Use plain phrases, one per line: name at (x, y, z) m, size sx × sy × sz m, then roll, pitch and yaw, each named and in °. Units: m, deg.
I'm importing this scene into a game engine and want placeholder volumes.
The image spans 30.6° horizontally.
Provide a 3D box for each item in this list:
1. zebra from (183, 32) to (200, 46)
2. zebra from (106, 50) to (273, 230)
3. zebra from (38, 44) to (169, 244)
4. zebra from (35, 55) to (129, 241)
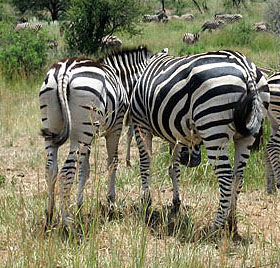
zebra at (1.707, -3.220, 17.309) m, size 0.351 × 0.453 × 0.861 m, roll 1°, pitch 4°, yaw -27°
zebra at (0.491, 0.021, 5.601) m, size 0.647 × 1.888 × 1.824 m, roll -1°, pitch 4°, yaw -45°
zebra at (-0.347, -0.022, 6.217) m, size 0.510 × 2.380 × 2.592 m, roll -1°, pitch 0°, yaw 24°
zebra at (-0.535, -0.088, 6.215) m, size 0.498 × 2.315 × 2.420 m, roll 1°, pitch 1°, yaw 12°
